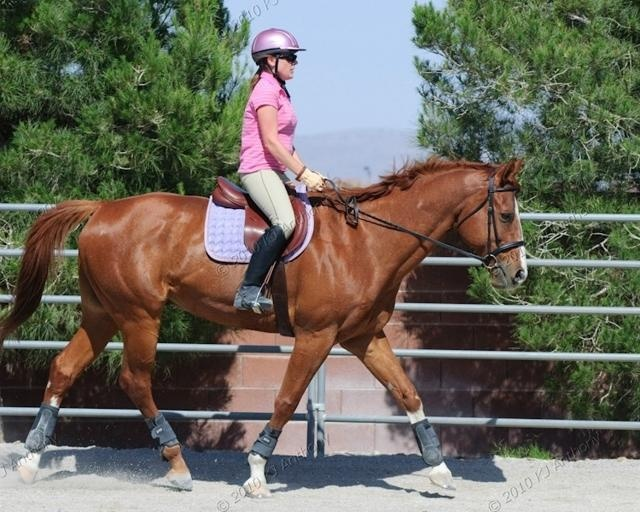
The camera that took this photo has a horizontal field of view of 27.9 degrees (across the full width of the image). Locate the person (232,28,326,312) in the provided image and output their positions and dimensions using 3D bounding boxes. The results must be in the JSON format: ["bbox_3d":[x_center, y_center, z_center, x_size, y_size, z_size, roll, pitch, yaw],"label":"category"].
[{"bbox_3d":[-0.362,-0.676,10.261,0.614,2.267,0.456,1,3,-4],"label":"person"}]

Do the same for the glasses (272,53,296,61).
[{"bbox_3d":[-0.269,-1.601,10.353,0.231,0.077,0.240,1,6,-1],"label":"glasses"}]

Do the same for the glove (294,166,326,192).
[{"bbox_3d":[-0.073,-0.609,10.195,0.232,0.185,0.446,1,4,0],"label":"glove"}]

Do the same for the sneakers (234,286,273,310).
[{"bbox_3d":[-0.521,0.326,10.128,0.255,0.182,0.162,2,-2,24],"label":"sneakers"}]
